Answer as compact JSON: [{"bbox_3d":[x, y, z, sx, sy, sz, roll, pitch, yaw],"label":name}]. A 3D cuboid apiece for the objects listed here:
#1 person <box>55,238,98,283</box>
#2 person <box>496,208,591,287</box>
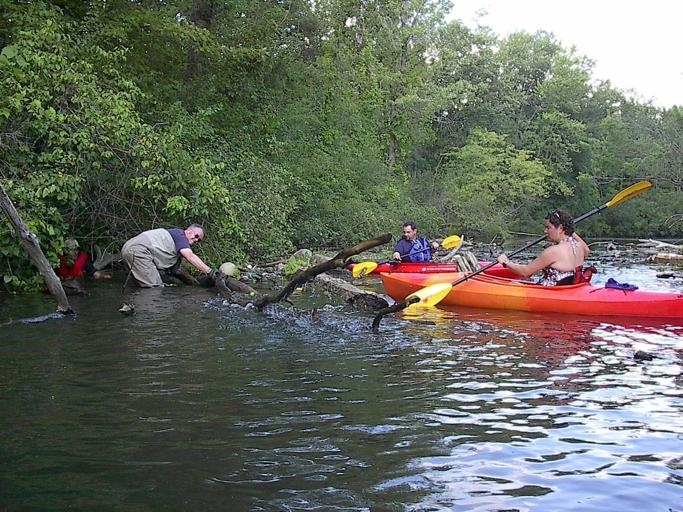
[{"bbox_3d":[-6.176,0.162,14.260,0.631,1.151,2.423,-3,10,-14],"label":"person"},{"bbox_3d":[3.797,-0.110,11.181,1.223,1.415,0.651,3,13,16],"label":"person"}]
